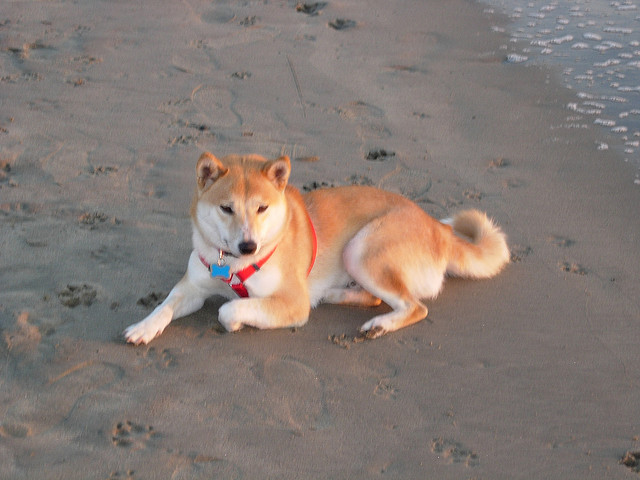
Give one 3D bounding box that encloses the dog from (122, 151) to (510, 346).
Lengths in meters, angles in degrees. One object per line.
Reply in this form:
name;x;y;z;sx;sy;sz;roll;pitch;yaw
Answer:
dog;0.034;-0.017;7.917;3.853;2.011;1.646;-5;19;-21
